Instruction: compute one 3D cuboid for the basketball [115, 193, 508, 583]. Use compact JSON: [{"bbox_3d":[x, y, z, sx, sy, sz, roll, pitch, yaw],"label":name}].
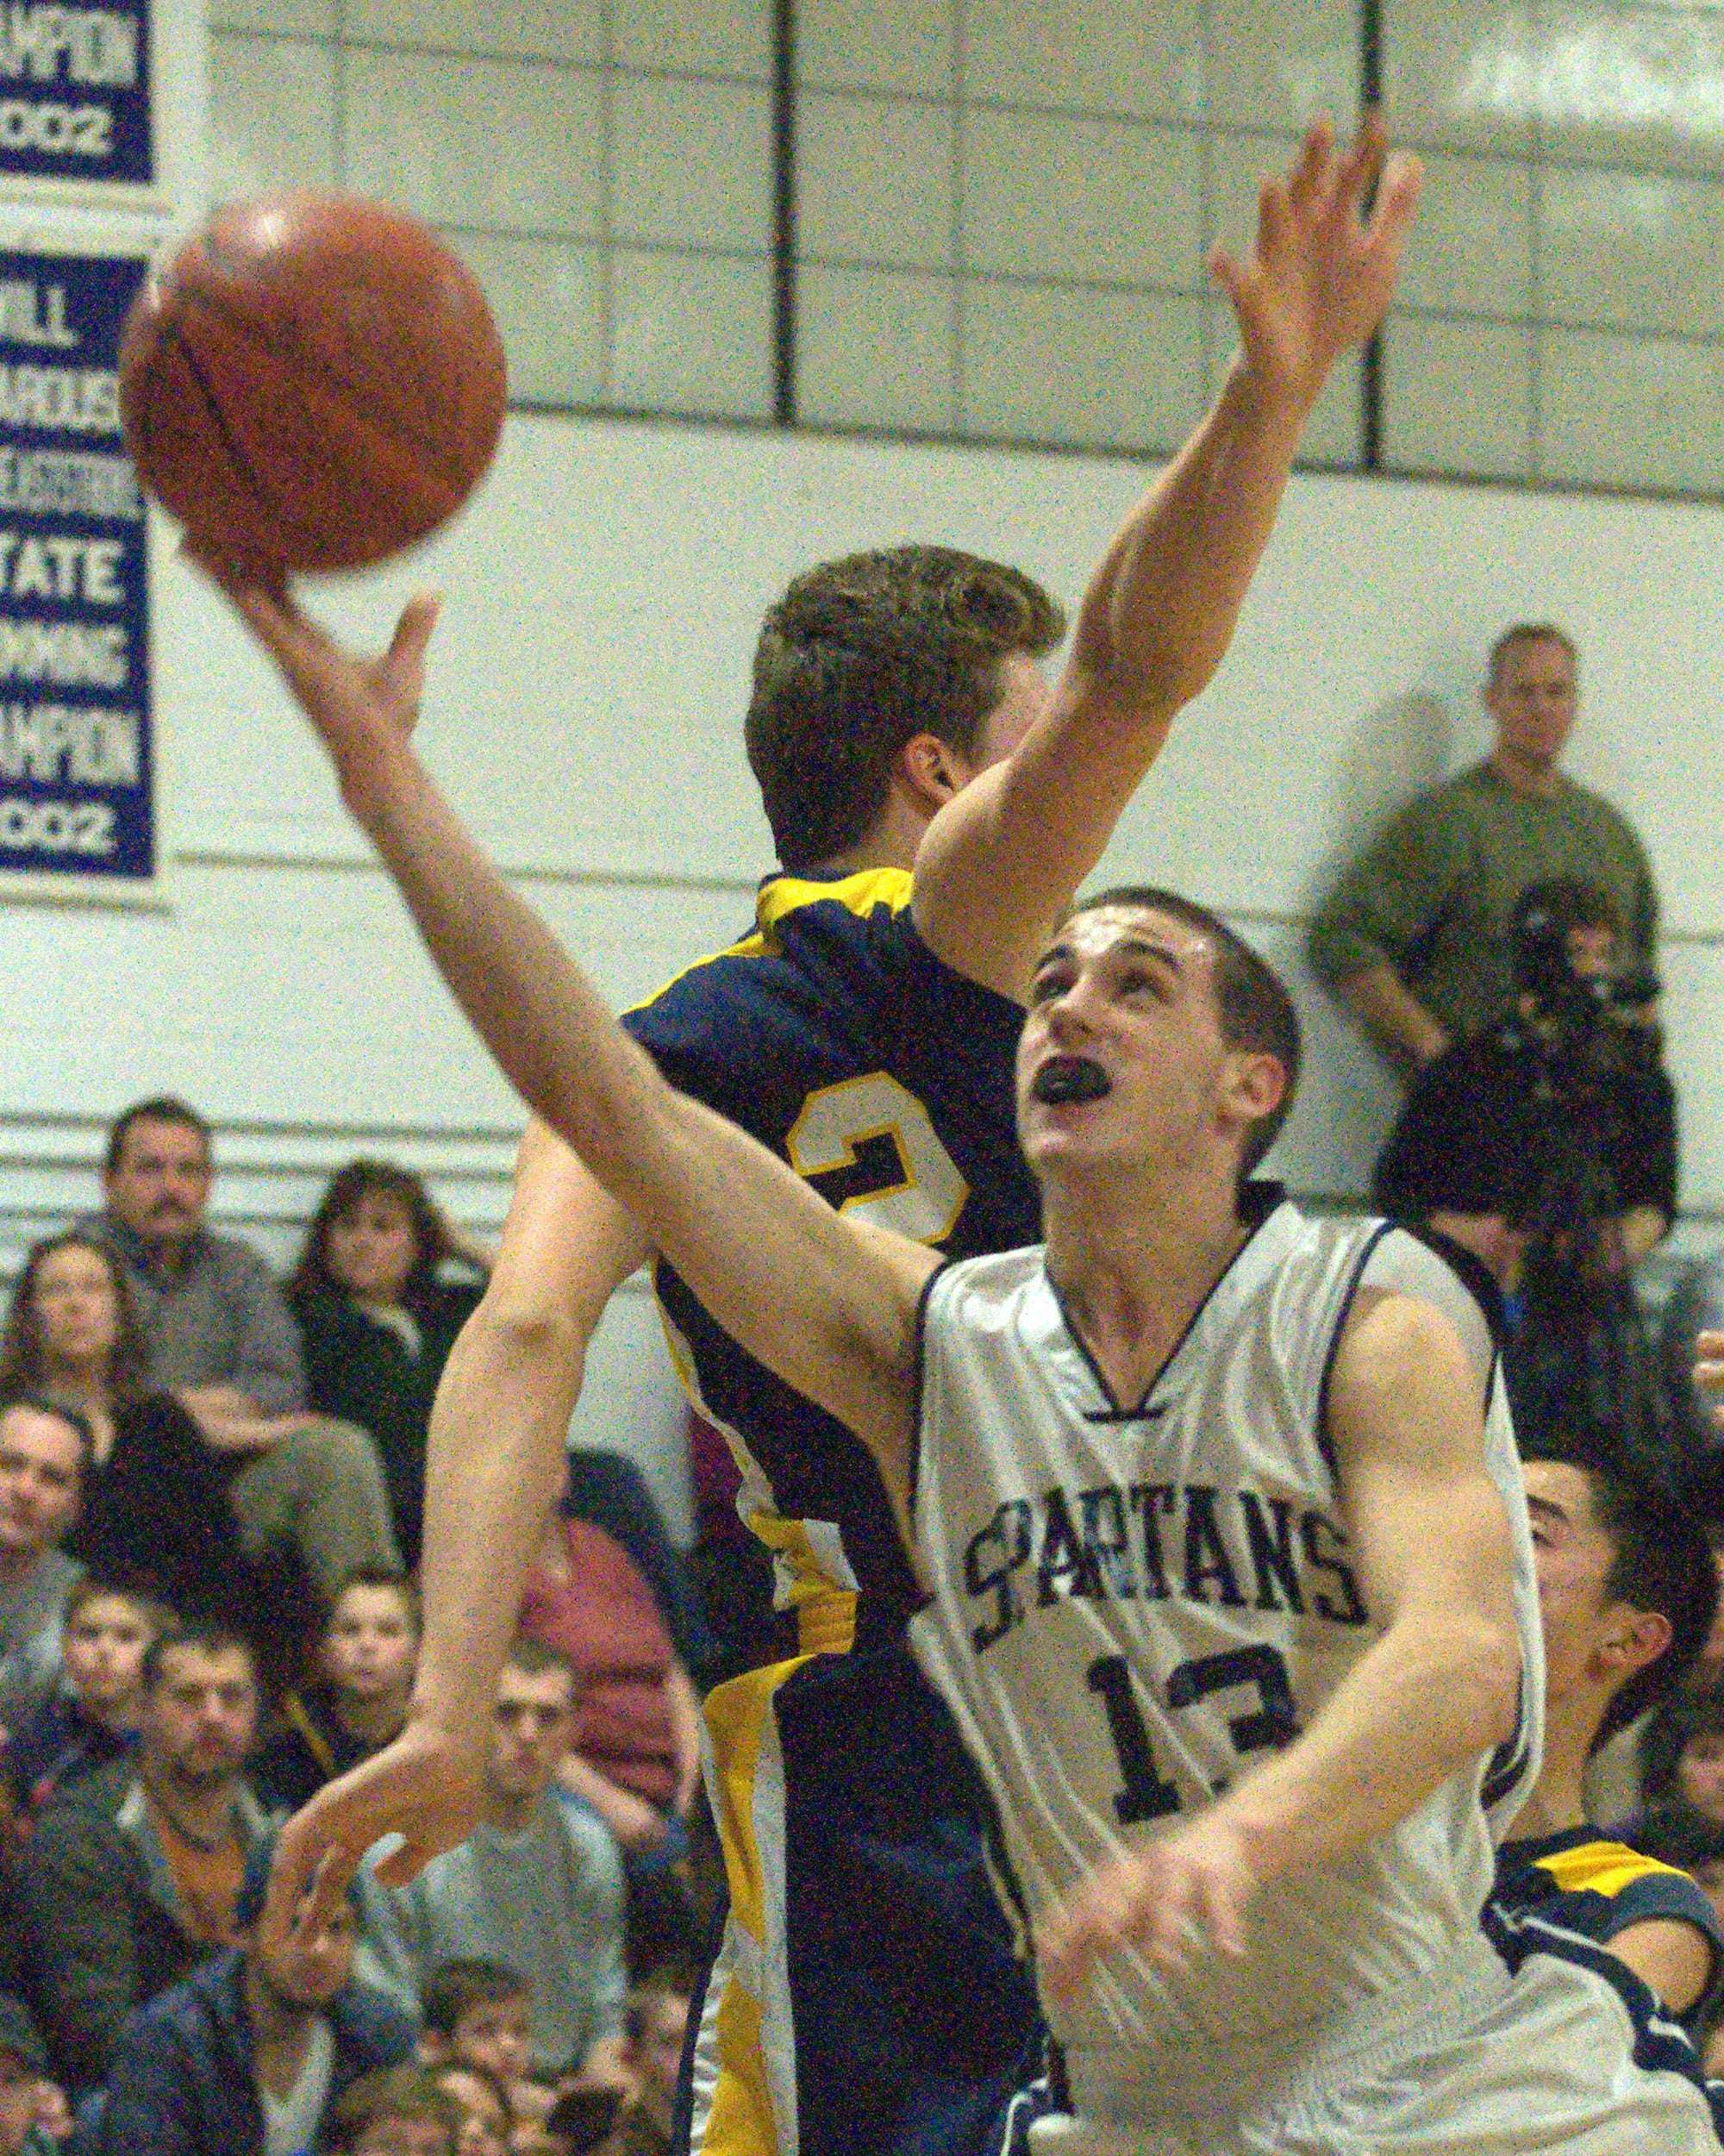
[{"bbox_3d":[-0.484,-0.531,2.518,0.347,0.191,0.300,-6,-14,-18],"label":"basketball"}]
